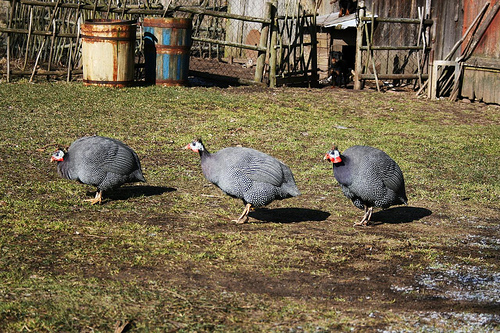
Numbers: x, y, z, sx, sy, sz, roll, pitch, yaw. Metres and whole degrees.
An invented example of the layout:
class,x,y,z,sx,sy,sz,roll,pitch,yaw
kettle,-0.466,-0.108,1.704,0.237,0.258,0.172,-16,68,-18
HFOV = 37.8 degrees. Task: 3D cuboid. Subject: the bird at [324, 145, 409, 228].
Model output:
class,x,y,z,sx,sy,sz,roll,pitch,yaw
bird,1.779,0.256,11.252,1.596,1.253,0.974,3,-6,-39
